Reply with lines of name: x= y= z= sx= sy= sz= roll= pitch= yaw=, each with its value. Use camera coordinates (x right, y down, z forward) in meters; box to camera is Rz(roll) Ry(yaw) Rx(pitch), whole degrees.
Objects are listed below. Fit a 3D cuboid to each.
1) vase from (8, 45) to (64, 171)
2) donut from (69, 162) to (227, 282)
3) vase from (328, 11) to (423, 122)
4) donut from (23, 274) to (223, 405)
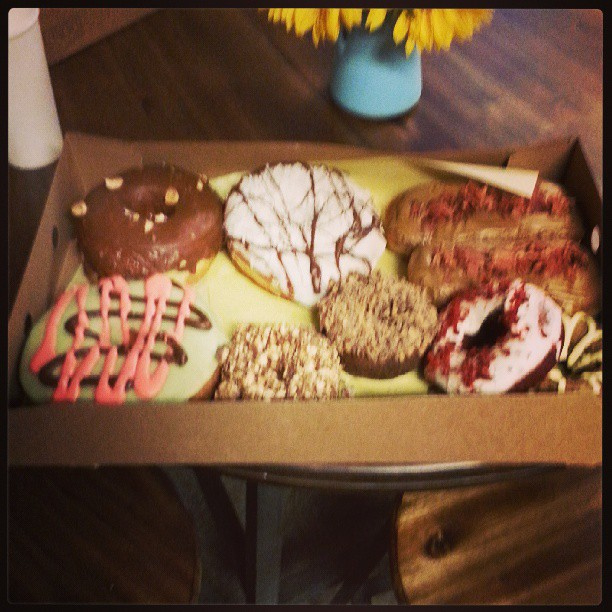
vase: x=-0.544 y=-0.401 z=1.423 sx=0.109 sy=0.128 sz=0.202 roll=-8 pitch=56 yaw=-6
donut: x=-0.314 y=-0.233 z=1.551 sx=0.273 sy=0.312 sz=0.137 roll=-22 pitch=99 yaw=-27
vase: x=0.120 y=-0.473 z=1.479 sx=0.166 sy=0.223 sz=0.207 roll=-15 pitch=48 yaw=-14
donut: x=-0.371 y=0.080 z=1.444 sx=0.386 sy=0.102 sz=0.312 roll=0 pitch=51 yaw=-18
